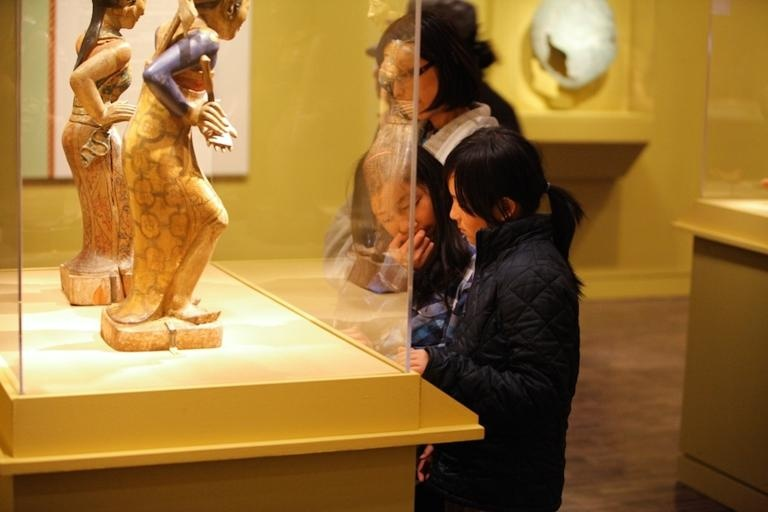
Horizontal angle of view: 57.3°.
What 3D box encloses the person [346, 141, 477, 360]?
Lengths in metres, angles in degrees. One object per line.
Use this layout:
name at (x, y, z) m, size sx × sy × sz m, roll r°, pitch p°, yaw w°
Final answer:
person at (0.072, 0.002, 1.779) m, size 0.342 × 0.710 × 0.250 m, roll -10°, pitch 41°, yaw -9°
